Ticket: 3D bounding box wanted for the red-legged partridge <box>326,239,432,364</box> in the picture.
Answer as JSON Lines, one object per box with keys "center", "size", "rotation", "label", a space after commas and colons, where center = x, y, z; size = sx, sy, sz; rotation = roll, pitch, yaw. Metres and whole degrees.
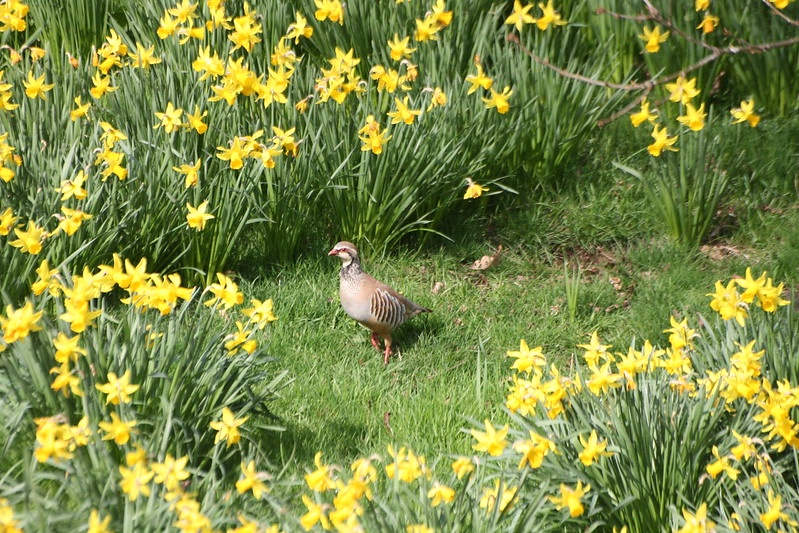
{"center": [-0.091, 0.178, 5.508], "size": [0.569, 0.801, 0.296], "rotation": [-10, 17, -21], "label": "red-legged partridge"}
